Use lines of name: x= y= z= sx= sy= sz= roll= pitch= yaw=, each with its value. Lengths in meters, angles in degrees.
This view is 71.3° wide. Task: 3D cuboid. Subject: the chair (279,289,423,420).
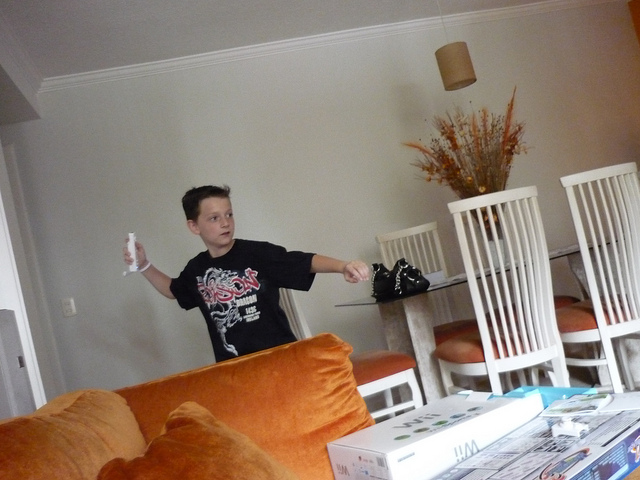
chair: x=0.175 y=0.607 z=2.142 sx=0.431 sy=0.747 sz=0.407 roll=-14 pitch=-2 yaw=-12

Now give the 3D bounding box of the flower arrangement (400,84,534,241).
flower arrangement: x=1.234 y=-0.447 z=3.461 sx=0.703 sy=0.963 sz=0.798 roll=-15 pitch=1 yaw=-15

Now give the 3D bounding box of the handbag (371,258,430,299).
handbag: x=0.423 y=0.223 z=2.386 sx=0.161 sy=0.140 sz=0.313 roll=-2 pitch=-5 yaw=-33

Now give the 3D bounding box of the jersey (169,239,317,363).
jersey: x=-0.317 y=0.240 z=1.927 sx=0.630 sy=0.512 sz=0.197 roll=-14 pitch=-1 yaw=28

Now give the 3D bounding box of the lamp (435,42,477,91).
lamp: x=1.067 y=-1.325 z=3.427 sx=0.228 sy=0.270 sz=0.230 roll=-11 pitch=-1 yaw=18

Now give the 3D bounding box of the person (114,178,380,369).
person: x=-0.587 y=0.221 z=2.943 sx=1.106 sy=1.430 sz=0.331 roll=-25 pitch=-4 yaw=18

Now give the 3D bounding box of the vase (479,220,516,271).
vase: x=1.169 y=0.020 z=2.938 sx=0.224 sy=0.367 sz=0.266 roll=1 pitch=-25 yaw=20
